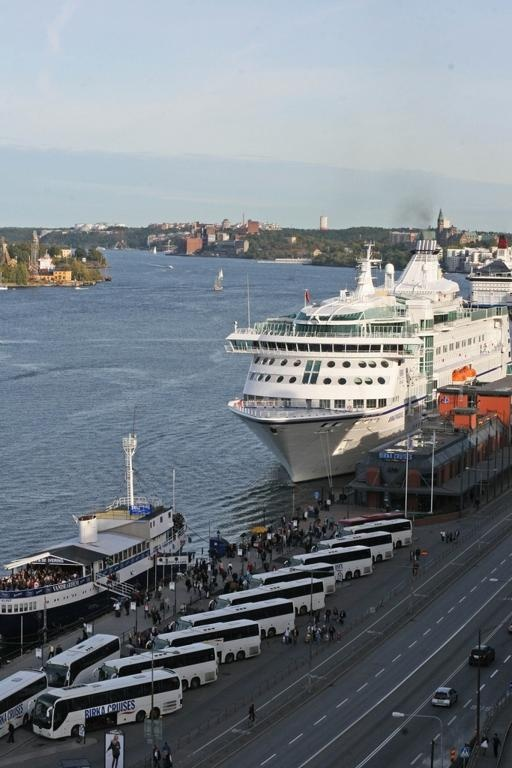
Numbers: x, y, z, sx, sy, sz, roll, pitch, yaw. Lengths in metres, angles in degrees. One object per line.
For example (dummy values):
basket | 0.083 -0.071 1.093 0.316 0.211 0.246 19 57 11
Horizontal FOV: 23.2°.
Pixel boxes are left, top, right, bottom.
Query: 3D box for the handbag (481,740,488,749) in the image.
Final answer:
handbag | 7.148 11.390 39.382 0.319 0.344 0.220 -2 -18 5

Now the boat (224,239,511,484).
boat | 8.768 -1.308 89.297 11.206 11.796 31.142 2 6 29
